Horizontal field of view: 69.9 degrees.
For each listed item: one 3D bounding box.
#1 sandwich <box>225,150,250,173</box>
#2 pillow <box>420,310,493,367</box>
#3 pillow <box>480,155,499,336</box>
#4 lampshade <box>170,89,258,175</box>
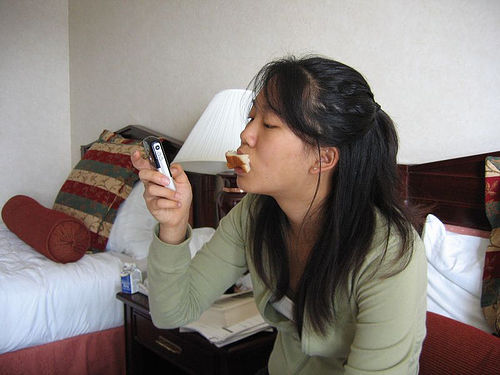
[{"bbox_3d":[-0.030,-0.072,0.943,0.048,0.054,0.020,-20,-15,0],"label":"sandwich"},{"bbox_3d":[0.615,0.474,1.069,0.179,0.100,0.170,2,8,35],"label":"pillow"},{"bbox_3d":[0.806,0.180,1.196,0.048,0.551,0.223,2,7,34],"label":"pillow"},{"bbox_3d":[-0.120,-0.213,1.702,0.367,0.296,0.413,6,0,41],"label":"lampshade"}]
